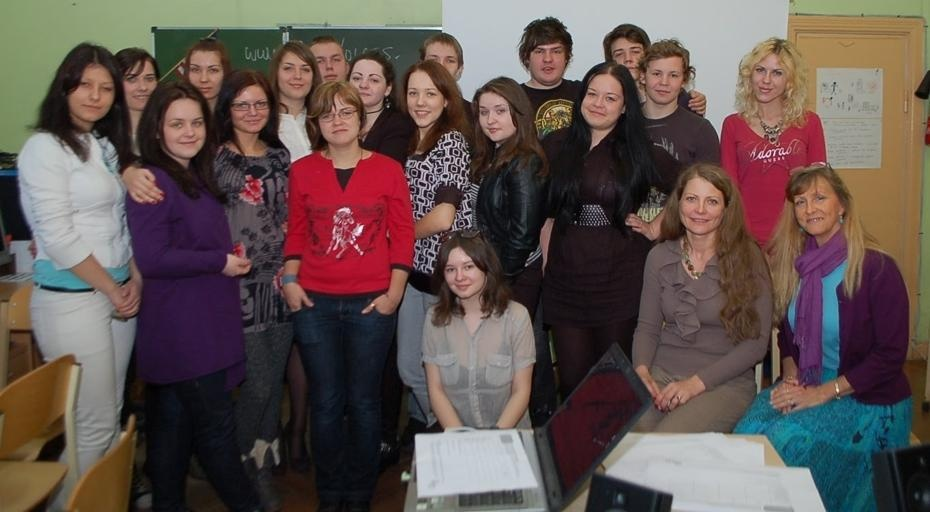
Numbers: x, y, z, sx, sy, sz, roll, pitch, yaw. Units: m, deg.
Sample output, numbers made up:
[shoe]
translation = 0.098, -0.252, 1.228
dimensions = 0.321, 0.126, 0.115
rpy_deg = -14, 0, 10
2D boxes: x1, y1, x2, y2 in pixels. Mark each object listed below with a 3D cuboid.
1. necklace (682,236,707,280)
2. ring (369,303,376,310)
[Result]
[necklace]
translation = 1.389, 0.013, 4.024
dimensions = 0.150, 0.230, 0.058
rpy_deg = -10, -19, 12
[ring]
translation = -0.555, 0.299, 3.912
dimensions = 0.029, 0.036, 0.010
rpy_deg = -14, -12, 0
